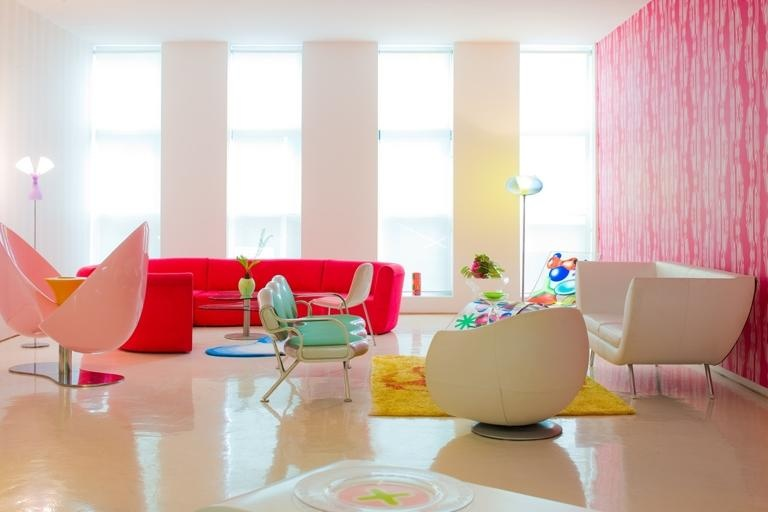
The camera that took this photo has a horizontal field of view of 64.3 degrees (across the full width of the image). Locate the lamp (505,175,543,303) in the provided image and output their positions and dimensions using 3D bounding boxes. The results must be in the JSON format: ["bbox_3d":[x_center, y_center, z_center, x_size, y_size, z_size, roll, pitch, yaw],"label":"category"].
[{"bbox_3d":[1.987,-0.251,8.821,0.487,1.782,1.223,2,9,13],"label":"lamp"}]

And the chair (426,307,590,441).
[{"bbox_3d":[0.929,0.881,4.600,1.157,0.850,0.954,-2,-6,37],"label":"chair"}]

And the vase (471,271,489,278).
[{"bbox_3d":[0.882,0.181,5.686,0.047,0.063,0.189,-9,12,-44],"label":"vase"}]

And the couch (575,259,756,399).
[{"bbox_3d":[2.502,0.617,5.751,1.168,1.070,1.489,0,8,-2],"label":"couch"}]

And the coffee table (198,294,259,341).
[{"bbox_3d":[-1.826,0.751,7.253,0.607,0.300,0.623,0,1,-18],"label":"coffee table"}]

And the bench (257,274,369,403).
[{"bbox_3d":[-0.602,0.677,5.675,1.038,0.797,1.639,-1,5,-11],"label":"bench"}]
